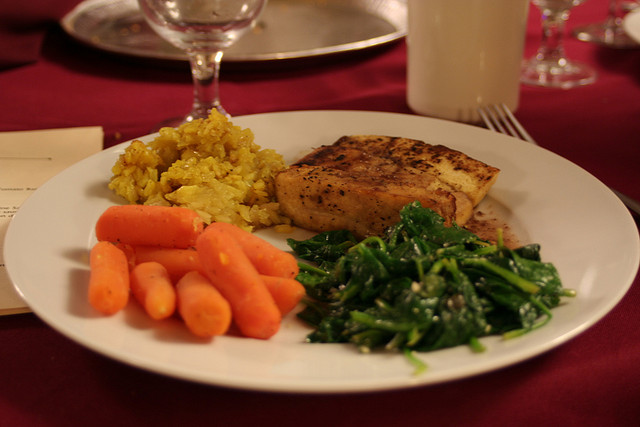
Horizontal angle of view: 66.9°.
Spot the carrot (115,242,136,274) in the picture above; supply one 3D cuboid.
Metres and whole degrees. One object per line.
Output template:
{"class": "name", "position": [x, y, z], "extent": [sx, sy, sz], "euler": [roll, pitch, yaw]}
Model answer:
{"class": "carrot", "position": [-0.584, 0.133, 1.453], "extent": [0.073, 0.022, 0.082], "euler": [0, 57, -37]}

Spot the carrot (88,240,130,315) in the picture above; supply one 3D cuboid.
{"class": "carrot", "position": [-0.595, 0.159, 1.381], "extent": [0.126, 0.079, 0.327], "euler": [7, 17, -27]}

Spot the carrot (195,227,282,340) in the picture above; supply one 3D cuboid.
{"class": "carrot", "position": [-0.212, 0.179, 1.336], "extent": [0.354, 0.141, 0.130], "euler": [48, 13, 12]}

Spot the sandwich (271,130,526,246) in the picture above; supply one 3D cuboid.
{"class": "sandwich", "position": [0.259, -0.159, 1.704], "extent": [0.670, 0.140, 0.462], "euler": [13, 31, 26]}

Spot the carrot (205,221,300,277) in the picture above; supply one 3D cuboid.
{"class": "carrot", "position": [-0.181, 0.127, 1.479], "extent": [0.135, 0.438, 0.114], "euler": [28, 56, -33]}

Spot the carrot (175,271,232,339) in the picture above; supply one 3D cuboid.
{"class": "carrot", "position": [-0.308, 0.247, 1.308], "extent": [0.133, 0.093, 0.237], "euler": [-4, 6, -15]}

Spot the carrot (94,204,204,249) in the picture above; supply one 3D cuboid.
{"class": "carrot", "position": [-0.508, 0.039, 1.546], "extent": [0.423, 0.121, 0.180], "euler": [1, 7, 25]}

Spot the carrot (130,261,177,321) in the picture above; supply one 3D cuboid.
{"class": "carrot", "position": [-0.462, 0.191, 1.346], "extent": [0.113, 0.061, 0.203], "euler": [-12, 32, -28]}

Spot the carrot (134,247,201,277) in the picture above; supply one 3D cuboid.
{"class": "carrot", "position": [-0.443, 0.128, 1.424], "extent": [0.270, 0.064, 0.075], "euler": [8, 2, 26]}
